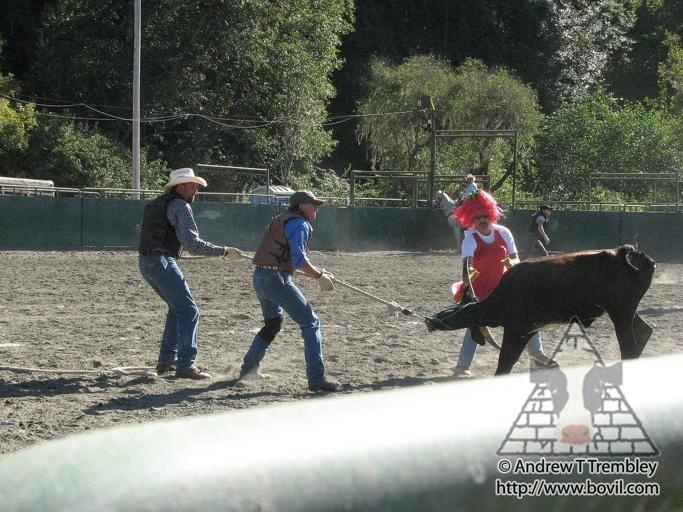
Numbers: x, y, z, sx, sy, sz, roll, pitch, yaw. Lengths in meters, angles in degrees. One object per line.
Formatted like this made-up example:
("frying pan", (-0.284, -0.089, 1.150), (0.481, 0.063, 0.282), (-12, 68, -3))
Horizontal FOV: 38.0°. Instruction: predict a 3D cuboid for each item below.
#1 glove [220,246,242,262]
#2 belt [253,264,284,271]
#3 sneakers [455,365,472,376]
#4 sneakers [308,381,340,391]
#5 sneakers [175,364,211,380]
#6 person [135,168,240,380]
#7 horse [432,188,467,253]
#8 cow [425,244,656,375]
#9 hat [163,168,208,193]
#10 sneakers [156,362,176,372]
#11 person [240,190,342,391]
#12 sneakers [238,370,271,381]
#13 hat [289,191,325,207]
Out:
("glove", (-1.846, -0.023, 16.396), (0.154, 0.172, 0.529), (27, 20, 18))
("belt", (-1.002, 0.152, 13.518), (0.397, 0.077, 0.120), (-7, 1, 17))
("sneakers", (1.733, 1.658, 14.171), (0.268, 0.151, 0.153), (1, 7, -11))
("sneakers", (-0.238, 1.770, 13.508), (0.407, 0.177, 0.151), (-3, 0, -8))
("sneakers", (-2.095, 1.633, 13.890), (0.562, 0.242, 0.195), (0, 4, -5))
("person", (-2.279, 0.259, 13.952), (1.071, 3.034, 0.648), (-7, 1, -12))
("horse", (3.126, -0.958, 29.158), (0.520, 1.408, 2.146), (-9, -17, 19))
("cow", (2.747, 0.577, 13.075), (3.468, 1.941, 0.955), (-11, -3, 6))
("hat", (-2.210, -1.165, 14.033), (0.501, 0.236, 0.405), (-9, -1, -4))
("sneakers", (-2.487, 1.593, 14.063), (0.269, 0.126, 0.118), (-16, 2, -7))
("person", (-0.743, 0.519, 13.706), (1.273, 2.721, 0.650), (-7, 1, 11))
("sneakers", (-1.239, 1.698, 13.957), (0.503, 0.205, 0.169), (-1, -1, -18))
("hat", (-0.509, -0.807, 13.616), (0.365, 0.173, 0.225), (-3, 6, -10))
